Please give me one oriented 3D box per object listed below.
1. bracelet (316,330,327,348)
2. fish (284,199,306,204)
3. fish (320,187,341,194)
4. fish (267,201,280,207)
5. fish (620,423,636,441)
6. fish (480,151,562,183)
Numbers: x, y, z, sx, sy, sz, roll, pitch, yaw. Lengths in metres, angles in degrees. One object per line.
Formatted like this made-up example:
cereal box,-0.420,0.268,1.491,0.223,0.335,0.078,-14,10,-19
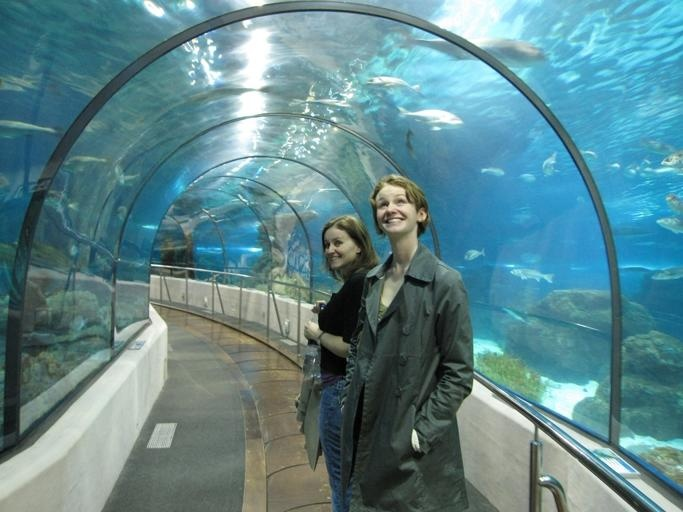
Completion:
bracelet,-0.177,0.722,4.225,0.043,0.113,0.099,4,-7,-17
fish,-1.248,-1.499,13.399,0.100,0.127,0.817,-4,8,-37
fish,-0.314,-1.598,11.793,0.180,0.122,0.867,-2,7,-27
fish,-1.995,-1.522,14.487,0.182,0.220,0.656,-3,8,-28
fish,3.210,1.999,5.582,0.096,0.124,0.267,-6,-13,21
fish,2.563,-1.324,7.388,0.272,0.472,1.312,-7,15,-28
